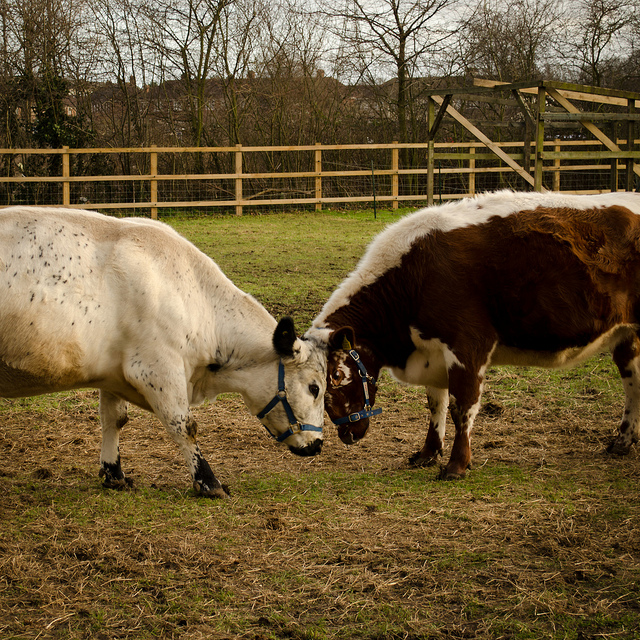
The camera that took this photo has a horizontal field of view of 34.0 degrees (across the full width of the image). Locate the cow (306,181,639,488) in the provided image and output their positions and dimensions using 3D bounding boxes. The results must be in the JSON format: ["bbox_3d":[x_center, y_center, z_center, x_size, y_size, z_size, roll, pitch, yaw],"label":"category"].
[{"bbox_3d":[1.270,0.072,7.537,2.201,1.902,0.926,-3,12,-11],"label":"cow"}]
